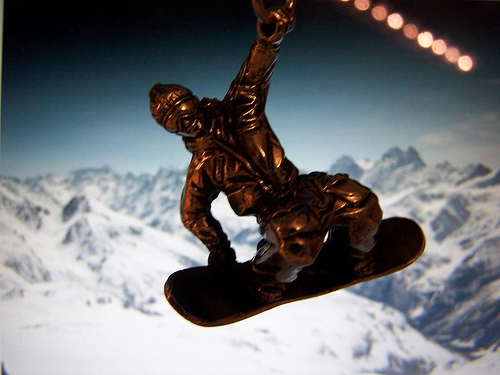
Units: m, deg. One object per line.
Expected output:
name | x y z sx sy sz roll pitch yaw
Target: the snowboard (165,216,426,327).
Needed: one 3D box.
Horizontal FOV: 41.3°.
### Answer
snowboard | 0.285 0.493 4.277 1.643 0.180 0.520 -13 38 -12
